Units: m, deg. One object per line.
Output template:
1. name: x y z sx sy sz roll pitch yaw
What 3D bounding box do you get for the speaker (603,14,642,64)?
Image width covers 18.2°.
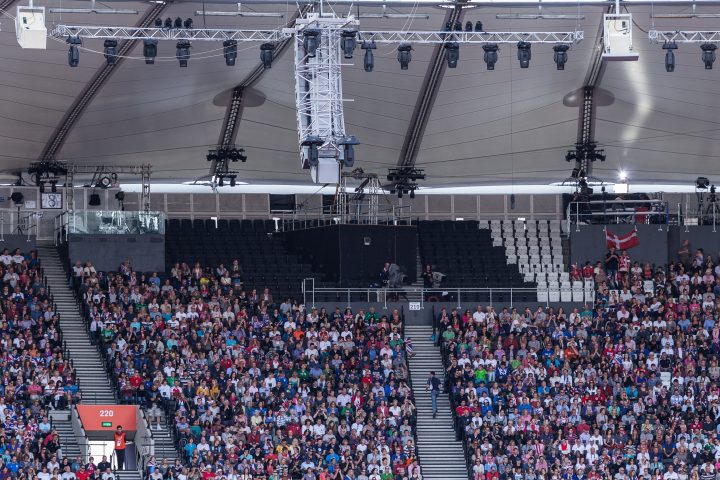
1. speaker: 10.191 -7.661 86.628 1.725 1.931 1.759 0 1 -3

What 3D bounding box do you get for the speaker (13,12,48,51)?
1. speaker: -12.421 -7.855 84.676 1.341 1.188 1.276 -1 11 -6
